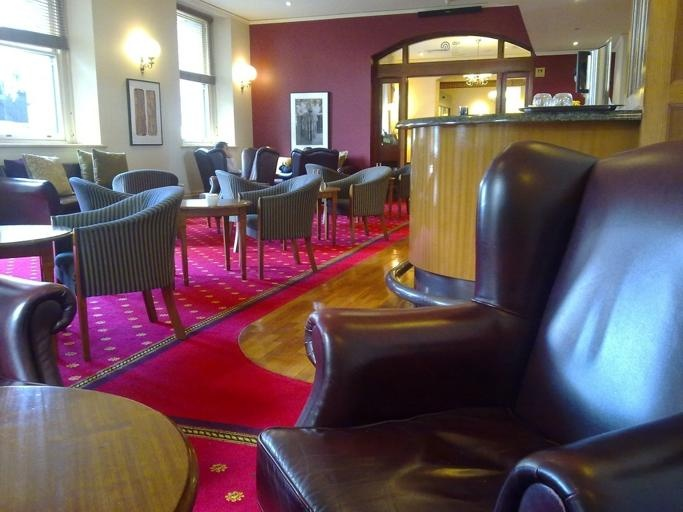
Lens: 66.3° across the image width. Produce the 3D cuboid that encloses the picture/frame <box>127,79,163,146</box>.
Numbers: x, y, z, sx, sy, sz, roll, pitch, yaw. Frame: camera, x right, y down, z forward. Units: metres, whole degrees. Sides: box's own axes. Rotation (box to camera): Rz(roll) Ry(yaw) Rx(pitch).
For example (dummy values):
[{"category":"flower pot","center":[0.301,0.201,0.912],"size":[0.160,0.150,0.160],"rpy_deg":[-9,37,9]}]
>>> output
[{"category":"picture/frame","center":[-2.902,-2.115,7.750],"size":[0.833,0.888,0.054],"rpy_deg":[14,18,38]}]

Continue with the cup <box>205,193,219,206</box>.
[{"category":"cup","center":[-1.060,-0.453,4.258],"size":[0.101,0.092,0.117],"rpy_deg":[0,0,-1]}]

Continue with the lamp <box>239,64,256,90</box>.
[{"category":"lamp","center":[-1.793,-3.409,10.117],"size":[0.227,0.504,0.496],"rpy_deg":[4,12,15]}]

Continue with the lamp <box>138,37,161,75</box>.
[{"category":"lamp","center":[-2.822,-2.860,7.625],"size":[0.166,0.504,0.272],"rpy_deg":[5,13,22]}]
